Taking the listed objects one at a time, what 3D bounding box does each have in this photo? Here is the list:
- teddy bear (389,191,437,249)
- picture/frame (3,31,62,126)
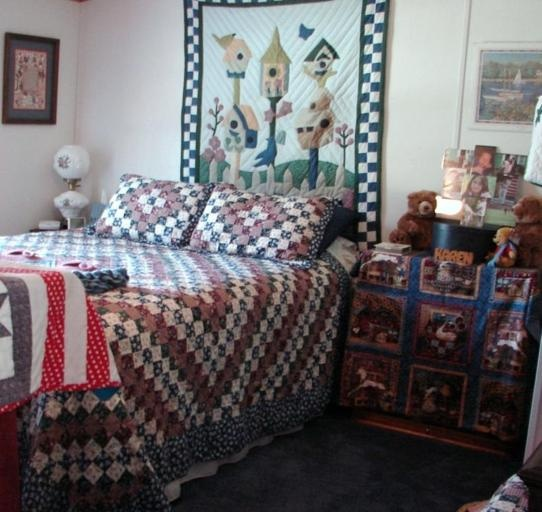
[{"bbox_3d":[0.834,-0.210,2.873,0.224,0.353,0.222,7,8,25],"label":"teddy bear"},{"bbox_3d":[-1.952,-1.431,4.004,0.076,0.757,0.472,8,9,28],"label":"picture/frame"}]
